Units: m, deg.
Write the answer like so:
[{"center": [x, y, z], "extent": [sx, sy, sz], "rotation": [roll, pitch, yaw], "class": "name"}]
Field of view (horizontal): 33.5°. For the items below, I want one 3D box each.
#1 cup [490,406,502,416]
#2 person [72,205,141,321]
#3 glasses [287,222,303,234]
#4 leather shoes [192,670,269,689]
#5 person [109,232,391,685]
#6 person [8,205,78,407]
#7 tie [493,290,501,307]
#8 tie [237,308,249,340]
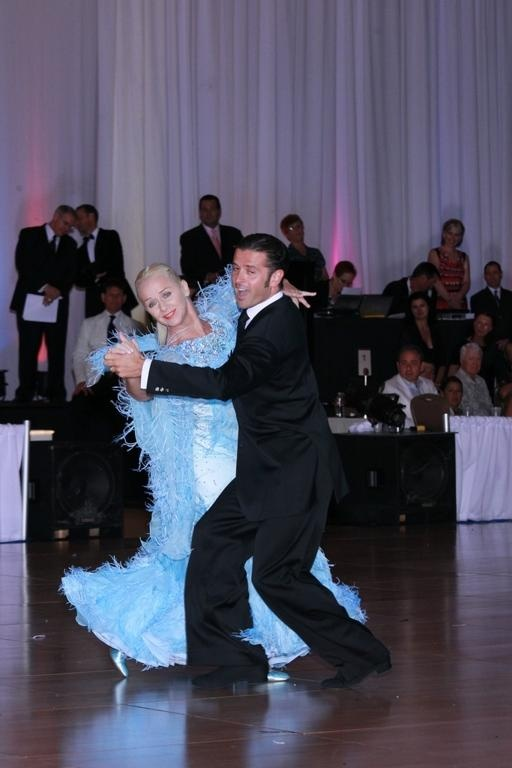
[{"center": [1.979, 0.224, 7.008], "extent": [0.072, 0.074, 0.069], "rotation": [0, -6, 0], "class": "cup"}, {"center": [-1.501, -0.980, 8.249], "extent": [0.614, 1.513, 0.510], "rotation": [-5, 17, -15], "class": "person"}, {"center": [0.391, -1.503, 8.157], "extent": [0.085, 0.107, 0.098], "rotation": [-4, 6, 1], "class": "glasses"}, {"center": [-0.063, 0.775, 2.270], "extent": [0.214, 0.076, 0.069], "rotation": [2, -5, -6], "class": "leather shoes"}, {"center": [-0.005, 0.222, 2.168], "extent": [0.695, 1.221, 0.319], "rotation": [-2, 3, -8], "class": "person"}, {"center": [-1.958, -0.728, 7.739], "extent": [0.637, 1.752, 0.604], "rotation": [2, 3, -6], "class": "person"}, {"center": [2.571, -0.913, 9.068], "extent": [0.048, 0.194, 0.058], "rotation": [3, -39, 7], "class": "tie"}, {"center": [-0.038, -0.160, 2.241], "extent": [0.026, 0.067, 0.051], "rotation": [13, 13, 26], "class": "tie"}]
